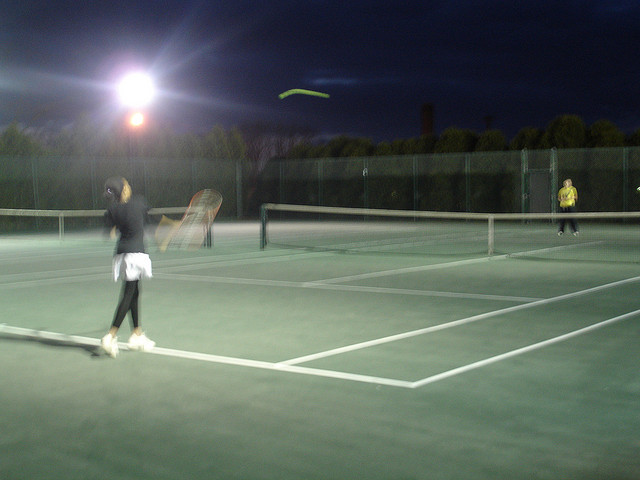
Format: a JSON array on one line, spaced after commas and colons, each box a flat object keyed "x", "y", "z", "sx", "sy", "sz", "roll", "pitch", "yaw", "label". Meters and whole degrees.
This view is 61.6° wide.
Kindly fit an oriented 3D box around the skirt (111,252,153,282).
[{"x": -1.983, "y": 0.257, "z": 5.805, "sx": 0.312, "sy": 0.263, "sz": 0.336, "roll": 1, "pitch": 3, "yaw": 15, "label": "skirt"}]

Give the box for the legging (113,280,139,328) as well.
[{"x": -2.067, "y": 0.701, "z": 5.753, "sx": 0.149, "sy": 0.514, "sz": 0.320, "roll": 2, "pitch": 5, "yaw": 28, "label": "legging"}]

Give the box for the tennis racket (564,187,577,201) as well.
[{"x": 9.643, "y": -1.812, "z": 20.652, "sx": 0.280, "sy": 0.546, "sz": 0.385, "roll": 10, "pitch": 10, "yaw": -29, "label": "tennis racket"}]
